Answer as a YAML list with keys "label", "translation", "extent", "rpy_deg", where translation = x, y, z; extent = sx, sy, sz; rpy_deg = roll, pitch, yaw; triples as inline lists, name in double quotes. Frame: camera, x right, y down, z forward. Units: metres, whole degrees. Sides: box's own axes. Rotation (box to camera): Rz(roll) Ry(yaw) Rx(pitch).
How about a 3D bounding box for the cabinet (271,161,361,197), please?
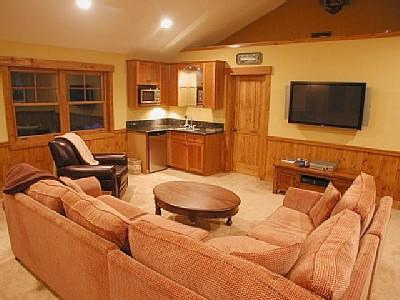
- label: "cabinet"
  translation: [2.141, 0.622, 5.319]
  extent: [1.499, 0.549, 0.517]
  rpy_deg: [9, 8, 28]

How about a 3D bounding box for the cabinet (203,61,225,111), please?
- label: "cabinet"
  translation: [0.331, -1.454, 6.632]
  extent: [0.510, 1.142, 0.332]
  rpy_deg: [0, 15, -3]

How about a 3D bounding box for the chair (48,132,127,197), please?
- label: "chair"
  translation: [-1.889, 0.332, 5.107]
  extent: [1.236, 1.121, 1.293]
  rpy_deg: [3, 11, 12]

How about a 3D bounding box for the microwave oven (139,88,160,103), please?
- label: "microwave oven"
  translation: [-1.207, -1.292, 6.851]
  extent: [0.355, 0.318, 0.495]
  rpy_deg: [8, 11, 41]

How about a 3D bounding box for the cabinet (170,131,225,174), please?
- label: "cabinet"
  translation: [-0.076, 0.013, 7.049]
  extent: [0.915, 0.934, 1.238]
  rpy_deg: [-6, 11, -39]

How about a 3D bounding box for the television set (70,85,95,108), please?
- label: "television set"
  translation: [-2.573, -1.171, 6.218]
  extent: [0.058, 0.571, 0.484]
  rpy_deg: [7, 13, 43]

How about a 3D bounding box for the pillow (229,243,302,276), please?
- label: "pillow"
  translation: [0.480, 0.731, 1.956]
  extent: [0.307, 0.100, 0.306]
  rpy_deg: [3, 0, 22]
